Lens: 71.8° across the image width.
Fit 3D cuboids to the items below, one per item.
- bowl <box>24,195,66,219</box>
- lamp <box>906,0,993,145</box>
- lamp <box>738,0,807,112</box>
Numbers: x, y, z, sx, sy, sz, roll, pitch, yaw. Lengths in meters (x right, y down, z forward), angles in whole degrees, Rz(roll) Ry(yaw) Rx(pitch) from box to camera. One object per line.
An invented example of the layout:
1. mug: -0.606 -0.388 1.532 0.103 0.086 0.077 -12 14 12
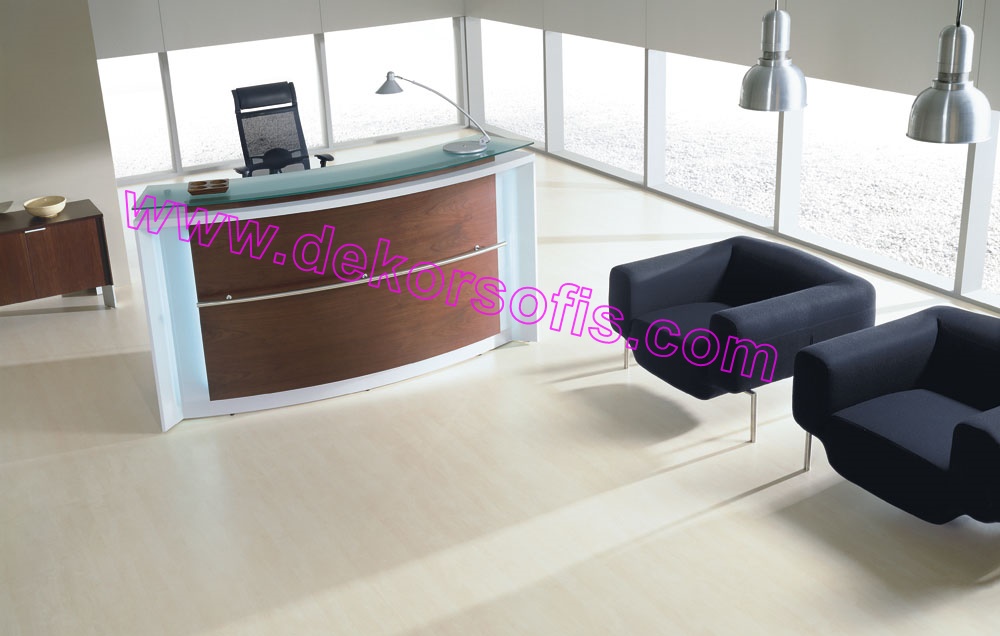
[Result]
1. bowl: -4.365 -1.078 6.670 0.338 0.126 0.330 2 26 -1
2. lamp: 2.103 -1.127 3.186 0.331 0.631 0.333 10 25 32
3. lamp: 1.641 -1.560 4.112 0.410 0.619 0.338 -15 24 -26
